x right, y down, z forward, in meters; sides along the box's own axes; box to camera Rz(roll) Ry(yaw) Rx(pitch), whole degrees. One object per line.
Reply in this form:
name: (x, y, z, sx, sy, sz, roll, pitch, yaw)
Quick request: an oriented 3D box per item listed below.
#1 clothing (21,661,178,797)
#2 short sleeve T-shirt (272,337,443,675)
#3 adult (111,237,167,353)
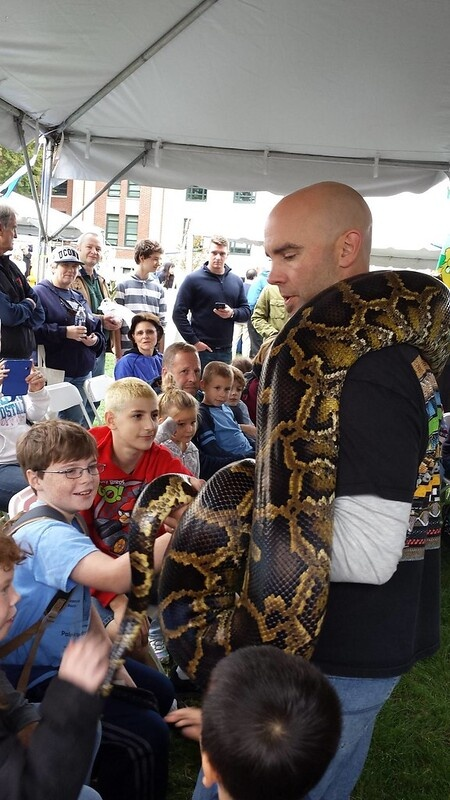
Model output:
clothing: (-0.449, 1.545, 2.649, 0.611, 0.613, 0.208, 22, -32, -21)
short sleeve T-shirt: (0.518, 0.370, 1.853, 0.340, 1.077, 0.477, 8, 9, 24)
adult: (-1.414, -1.156, 9.647, 0.882, 2.944, 0.626, -3, 26, -17)
